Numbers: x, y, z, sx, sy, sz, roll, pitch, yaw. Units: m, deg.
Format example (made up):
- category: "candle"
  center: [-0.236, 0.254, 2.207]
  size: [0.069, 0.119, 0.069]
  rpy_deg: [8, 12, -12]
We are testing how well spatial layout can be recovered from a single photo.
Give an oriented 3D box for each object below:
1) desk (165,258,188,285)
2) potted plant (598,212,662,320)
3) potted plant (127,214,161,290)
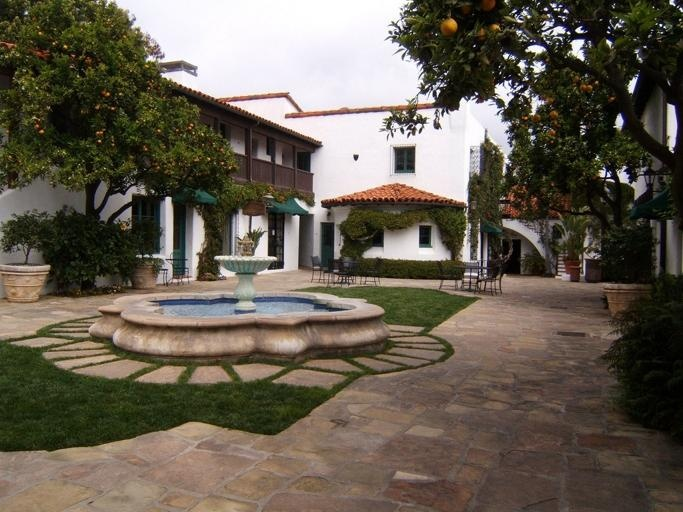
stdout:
- category: "desk"
  center: [-5.417, 0.484, 15.939]
  size: [0.731, 0.819, 1.465]
  rpy_deg: [0, -1, -17]
- category: "potted plant"
  center: [6.510, 0.179, 11.417]
  size: [1.242, 1.849, 1.217]
  rpy_deg: [-6, 6, -18]
- category: "potted plant"
  center: [-5.669, -0.064, 13.785]
  size: [0.765, 2.055, 1.534]
  rpy_deg: [0, -1, 6]
